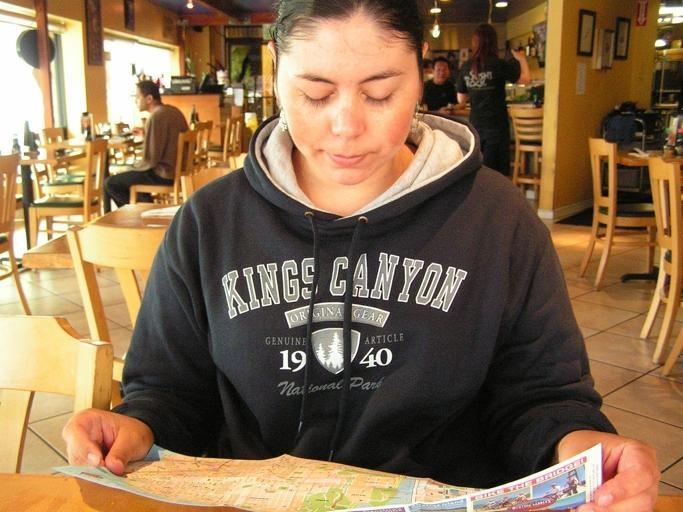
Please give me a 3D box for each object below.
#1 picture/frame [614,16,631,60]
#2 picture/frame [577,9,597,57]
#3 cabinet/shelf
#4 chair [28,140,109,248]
[{"bbox_3d":[3.492,-2.740,6.846,0.039,0.503,0.536,11,40,42],"label":"picture/frame"},{"bbox_3d":[2.722,-2.509,6.122,0.049,0.583,0.569,9,18,40],"label":"picture/frame"},{"bbox_3d":[3.162,-1.224,6.547,0.676,0.918,0.687,1,9,2],"label":"cabinet/shelf"},{"bbox_3d":[-2.554,-0.552,4.714,0.578,0.871,0.541,-35,28,-33],"label":"chair"}]
